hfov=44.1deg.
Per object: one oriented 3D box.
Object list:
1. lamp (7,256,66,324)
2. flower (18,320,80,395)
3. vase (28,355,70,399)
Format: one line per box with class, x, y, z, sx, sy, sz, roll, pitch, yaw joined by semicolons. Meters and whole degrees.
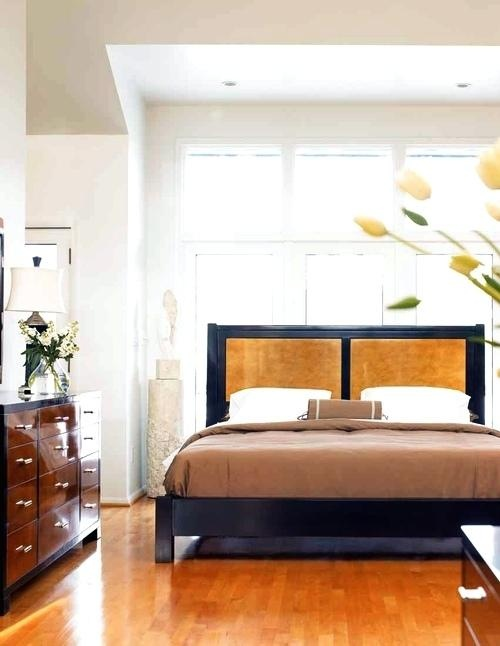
lamp;-0.972;-0.151;2.824;0.244;0.212;0.143;2;-6;-21
flower;-0.966;0.163;2.994;0.281;0.350;0.251;3;-6;-32
vase;-0.962;0.273;2.980;0.143;0.150;0.151;0;-1;9
